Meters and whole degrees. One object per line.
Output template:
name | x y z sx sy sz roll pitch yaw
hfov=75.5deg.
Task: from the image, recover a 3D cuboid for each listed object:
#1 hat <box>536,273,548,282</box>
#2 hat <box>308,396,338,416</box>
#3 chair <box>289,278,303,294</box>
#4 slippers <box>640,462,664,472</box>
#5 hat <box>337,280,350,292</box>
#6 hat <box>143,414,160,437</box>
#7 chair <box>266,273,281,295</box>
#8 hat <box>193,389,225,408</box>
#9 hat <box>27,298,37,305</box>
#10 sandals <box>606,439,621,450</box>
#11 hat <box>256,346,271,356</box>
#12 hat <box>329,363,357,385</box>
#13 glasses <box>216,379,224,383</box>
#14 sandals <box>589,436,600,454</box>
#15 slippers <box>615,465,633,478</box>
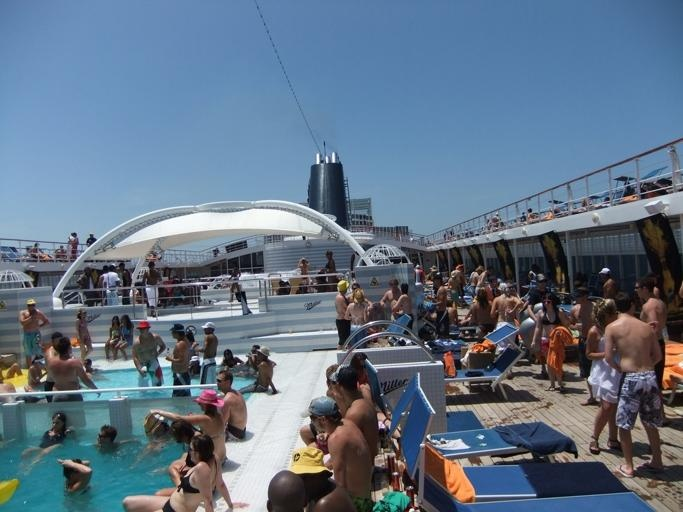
hat | 4.058 0.451 9.023 0.235 0.102 0.359 -1 -7 3
hat | -0.173 1.424 4.251 0.259 0.149 0.169 4 1 30
chair | -1.642 1.055 15.633 0.644 0.656 0.377 2 19 5
slippers | 3.482 2.360 4.948 0.233 0.085 0.120 -1 0 2
hat | 0.039 0.714 10.374 0.234 0.151 0.314 -2 31 35
hat | -2.948 2.584 6.860 0.270 0.321 0.282 5 30 -26
chair | -2.511 1.048 16.248 0.801 0.733 0.564 0 -6 -13
hat | -1.715 1.815 5.677 0.323 0.129 0.285 9 -8 44
hat | -8.525 1.247 12.062 0.275 0.129 0.346 -2 -12 -17
sandals | 3.395 2.333 5.478 0.137 0.107 0.114 -8 -4 25
hat | -1.472 1.819 8.385 0.160 0.201 0.457 -5 -4 -8
hat | 0.046 1.263 4.657 0.283 0.251 0.217 -5 5 -17
glasses | -1.750 1.796 6.319 0.076 0.023 0.069 11 -12 -24
sandals | 3.096 2.318 5.379 0.093 0.104 0.273 -2 -8 15
slippers | 3.158 2.393 4.924 0.078 0.052 0.151 0 1 -14
